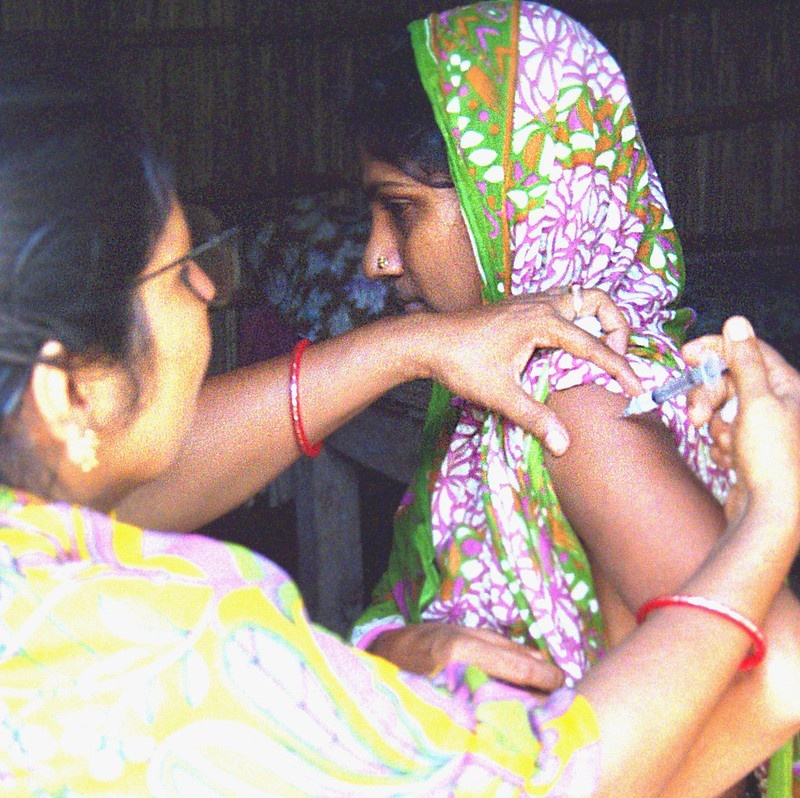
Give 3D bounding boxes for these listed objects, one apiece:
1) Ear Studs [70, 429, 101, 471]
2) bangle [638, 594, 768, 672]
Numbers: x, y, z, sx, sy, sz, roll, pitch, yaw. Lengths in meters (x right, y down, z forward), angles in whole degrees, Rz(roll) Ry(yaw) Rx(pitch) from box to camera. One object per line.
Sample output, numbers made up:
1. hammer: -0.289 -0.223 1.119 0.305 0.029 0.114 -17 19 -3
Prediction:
1. Ear Studs: -0.302 0.048 0.994 0.033 0.037 0.011 1 15 -5
2. bangle: 0.285 0.208 0.969 0.081 0.085 0.021 29 69 4
